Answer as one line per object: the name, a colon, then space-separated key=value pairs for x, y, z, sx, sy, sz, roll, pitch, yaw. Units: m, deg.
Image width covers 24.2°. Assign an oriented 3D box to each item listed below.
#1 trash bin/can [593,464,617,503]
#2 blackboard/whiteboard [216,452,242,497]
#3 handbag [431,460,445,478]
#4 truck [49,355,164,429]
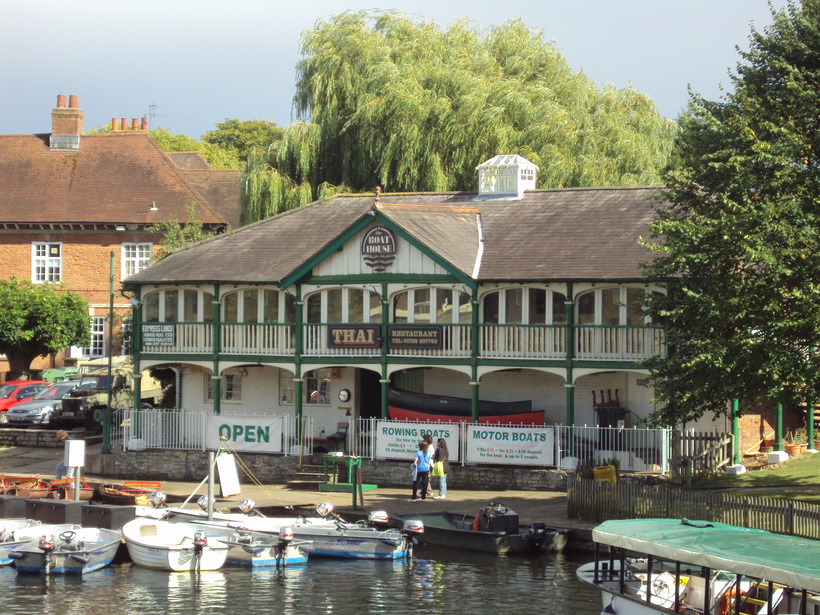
trash bin/can: x=6.586 y=5.779 z=64.074 sx=0.788 sy=1.168 sz=1.205 roll=0 pitch=-6 yaw=6
blackboard/whiteboard: x=-6.474 y=5.720 z=66.155 sx=0.280 sy=1.371 sz=1.288 roll=-5 pitch=-10 yaw=8
handbag: x=1.021 y=5.650 z=67.709 sx=0.535 sy=0.836 sz=0.449 roll=0 pitch=-1 yaw=9
truck: x=-12.554 y=3.497 z=80.196 sx=2.418 sy=2.643 sz=4.336 roll=-2 pitch=-5 yaw=30
